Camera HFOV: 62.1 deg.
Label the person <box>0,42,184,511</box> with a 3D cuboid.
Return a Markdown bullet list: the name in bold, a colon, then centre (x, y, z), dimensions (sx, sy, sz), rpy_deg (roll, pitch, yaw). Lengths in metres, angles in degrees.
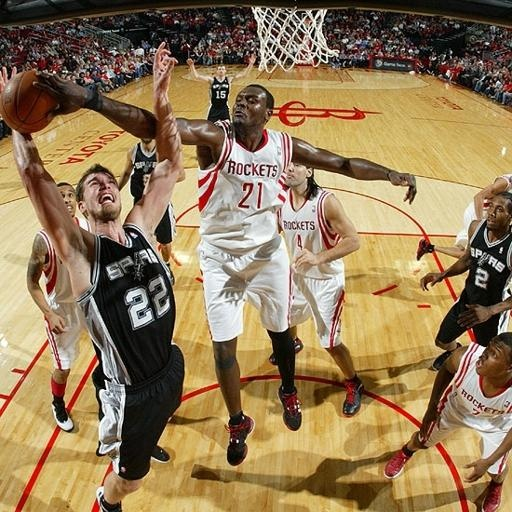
- **person**: centre (-0.608, 0.273, 2.034), dimensions (0.605, 2.243, 0.903), rpy_deg (-4, 35, -8)

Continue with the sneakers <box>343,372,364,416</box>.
- **sneakers**: centre (0.756, 1.068, 3.313), dimensions (0.120, 0.151, 0.330), rpy_deg (-3, 43, 31)

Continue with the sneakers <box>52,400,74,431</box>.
- **sneakers**: centre (-1.432, 1.191, 3.158), dimensions (0.083, 0.091, 0.227), rpy_deg (-27, 65, -42)

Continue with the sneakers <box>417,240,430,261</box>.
- **sneakers**: centre (1.815, -0.050, 4.636), dimensions (0.118, 0.090, 0.251), rpy_deg (14, 65, 3)
